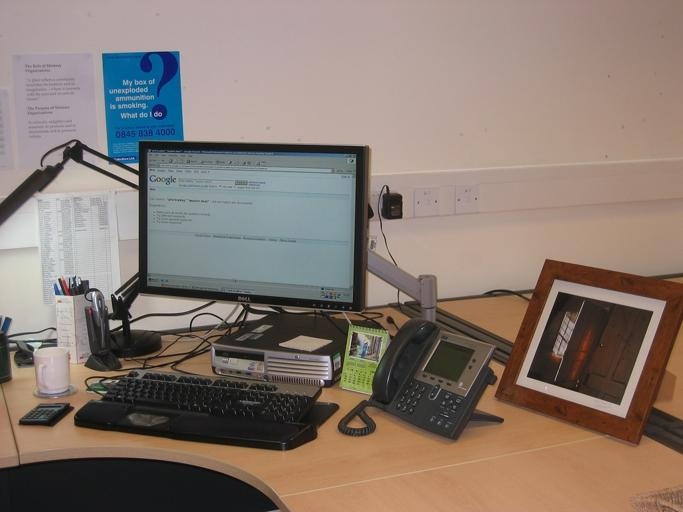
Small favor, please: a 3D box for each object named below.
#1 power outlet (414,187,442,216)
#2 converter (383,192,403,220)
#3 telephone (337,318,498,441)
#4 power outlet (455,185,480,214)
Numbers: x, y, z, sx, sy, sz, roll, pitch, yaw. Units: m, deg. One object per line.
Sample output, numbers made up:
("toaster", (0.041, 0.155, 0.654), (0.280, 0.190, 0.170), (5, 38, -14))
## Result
("power outlet", (0.309, -0.202, 2.019), (0.111, 0.103, 0.014), (0, 2, -20))
("converter", (0.178, -0.178, 1.960), (0.087, 0.112, 0.063), (-3, 12, -22))
("telephone", (0.169, 0.232, 1.239), (0.288, 0.176, 0.264), (-14, 21, -40))
("power outlet", (0.463, -0.214, 2.062), (0.108, 0.101, 0.014), (-3, 13, -13))
